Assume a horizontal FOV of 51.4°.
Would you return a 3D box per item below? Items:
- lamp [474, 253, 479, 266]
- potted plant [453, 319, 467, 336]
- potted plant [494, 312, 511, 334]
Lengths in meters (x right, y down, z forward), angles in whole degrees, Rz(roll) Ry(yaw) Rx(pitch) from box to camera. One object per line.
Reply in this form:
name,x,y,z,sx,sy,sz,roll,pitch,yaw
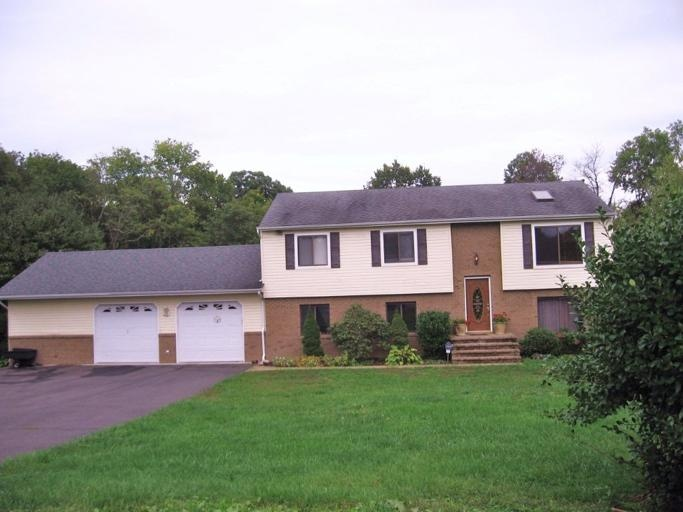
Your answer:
lamp,5.390,0.111,27.976,0.216,0.446,0.138,-2,2,-6
potted plant,4.632,2.737,27.489,0.504,0.428,0.519,2,-8,-13
potted plant,6.209,2.571,27.473,0.496,0.769,0.557,0,2,35
